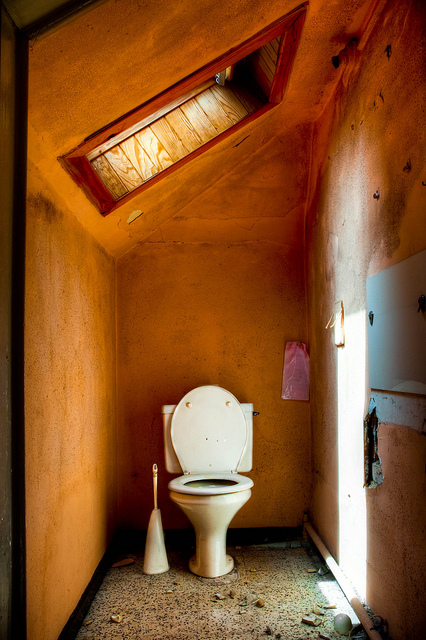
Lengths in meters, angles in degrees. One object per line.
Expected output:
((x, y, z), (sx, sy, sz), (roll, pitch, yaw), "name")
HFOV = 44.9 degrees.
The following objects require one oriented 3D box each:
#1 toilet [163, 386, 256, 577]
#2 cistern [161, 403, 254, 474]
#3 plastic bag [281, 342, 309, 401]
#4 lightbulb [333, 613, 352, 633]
((-0.025, 0.689, 2.295), (0.422, 0.775, 0.617), (-1, -4, 4), "toilet")
((-0.030, 0.432, 2.404), (0.455, 0.441, 0.278), (-1, 0, 0), "cistern")
((0.424, 0.264, 2.665), (0.141, 0.287, 0.035), (-1, -3, 10), "plastic bag")
((0.422, 0.979, 1.670), (0.056, 0.053, 0.045), (-2, -4, 15), "lightbulb")
